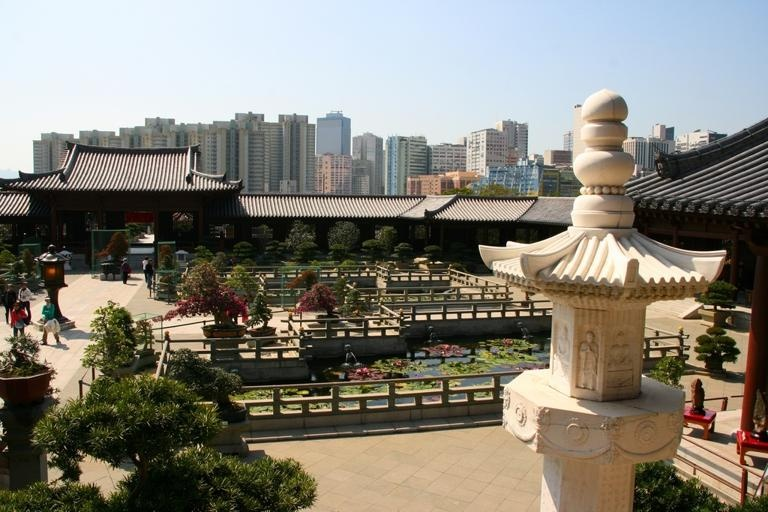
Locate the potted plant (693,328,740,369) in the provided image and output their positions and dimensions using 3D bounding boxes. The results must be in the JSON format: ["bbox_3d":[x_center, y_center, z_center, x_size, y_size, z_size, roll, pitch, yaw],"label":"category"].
[{"bbox_3d":[8.008,2.268,16.537,0.891,1.183,0.909,-1,4,10],"label":"potted plant"}]

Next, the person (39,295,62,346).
[{"bbox_3d":[-8.751,1.638,17.800,0.434,1.148,1.776,-3,5,-26],"label":"person"}]

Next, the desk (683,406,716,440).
[{"bbox_3d":[5.413,2.847,11.956,0.682,0.286,0.449,7,-21,22],"label":"desk"}]

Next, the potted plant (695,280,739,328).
[{"bbox_3d":[10.550,1.545,21.551,1.066,1.335,1.188,9,-2,-8],"label":"potted plant"}]

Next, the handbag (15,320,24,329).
[{"bbox_3d":[-9.000,1.698,16.794,0.229,0.195,0.203,6,15,24],"label":"handbag"}]
